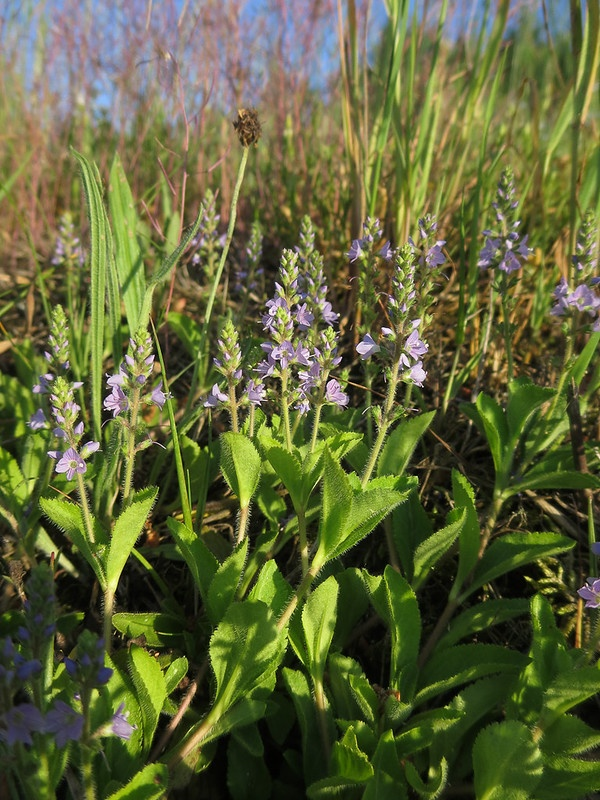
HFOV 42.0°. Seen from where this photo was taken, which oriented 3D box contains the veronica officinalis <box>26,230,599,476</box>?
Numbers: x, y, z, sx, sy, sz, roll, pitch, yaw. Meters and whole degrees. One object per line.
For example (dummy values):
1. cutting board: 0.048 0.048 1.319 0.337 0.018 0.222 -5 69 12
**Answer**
1. veronica officinalis: 0.119 -0.253 2.563 1.798 0.883 0.967 8 21 -6
